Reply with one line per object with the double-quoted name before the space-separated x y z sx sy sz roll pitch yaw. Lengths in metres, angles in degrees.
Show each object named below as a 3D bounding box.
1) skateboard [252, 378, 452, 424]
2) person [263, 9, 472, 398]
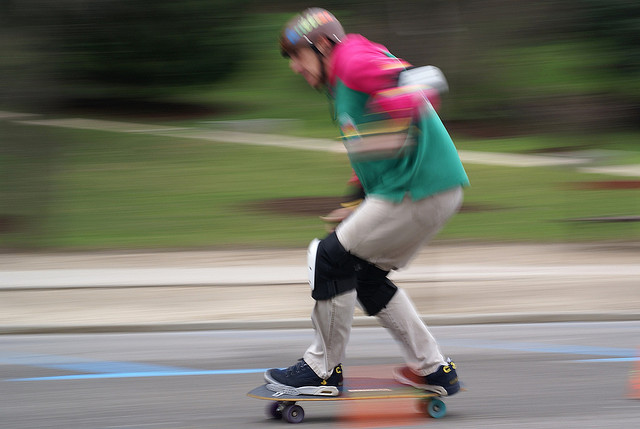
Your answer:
"skateboard" 0.087 1.295 4.723 1.721 0.131 0.388 -1 4 -5
"person" 0.350 -0.018 4.521 1.272 2.626 0.575 -3 16 6
